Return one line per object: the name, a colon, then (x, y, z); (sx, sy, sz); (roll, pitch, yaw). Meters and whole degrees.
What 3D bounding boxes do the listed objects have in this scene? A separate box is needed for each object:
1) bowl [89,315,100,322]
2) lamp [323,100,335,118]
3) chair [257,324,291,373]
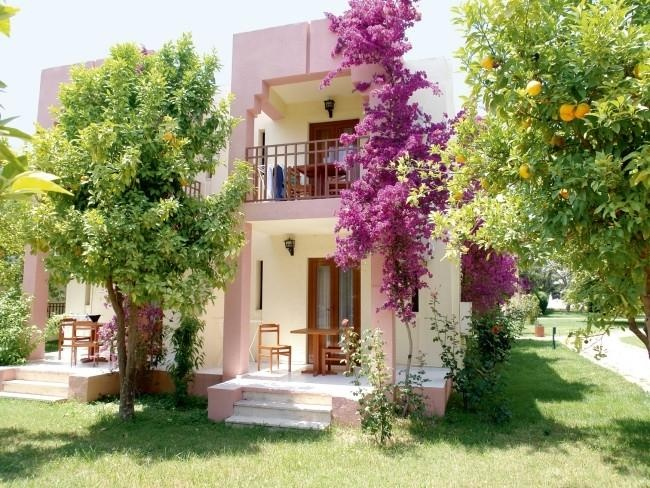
bowl: (-5.441, 1.764, 12.763); (0.194, 0.152, 0.210); (0, -10, 0)
lamp: (0.093, -3.229, 12.829); (0.248, 0.399, 0.259); (0, -2, 8)
chair: (-1.150, 2.266, 12.129); (0.773, 1.082, 2.507); (0, -2, -7)
